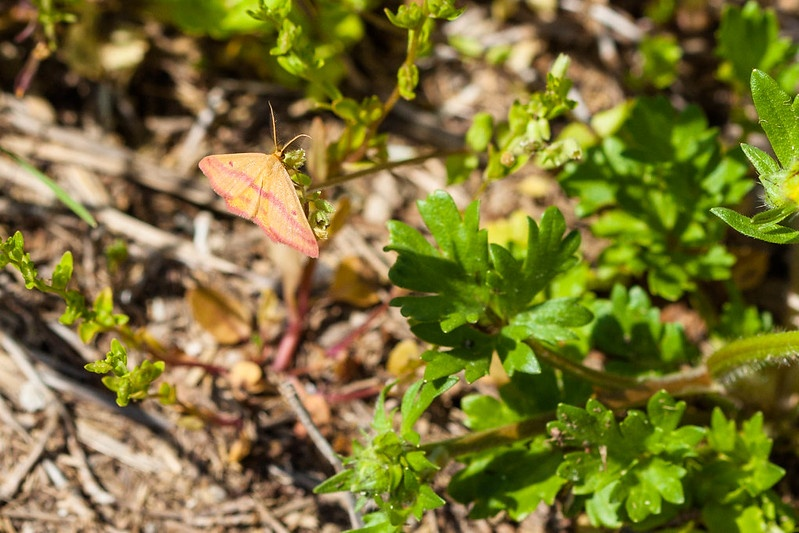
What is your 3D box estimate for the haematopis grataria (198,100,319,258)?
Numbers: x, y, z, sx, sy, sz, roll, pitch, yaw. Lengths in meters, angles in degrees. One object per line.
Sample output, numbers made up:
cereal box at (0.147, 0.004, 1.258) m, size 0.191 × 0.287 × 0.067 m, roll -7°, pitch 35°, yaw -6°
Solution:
haematopis grataria at (-0.709, -0.477, 4.058) m, size 0.759 × 0.553 × 0.204 m, roll 30°, pitch 6°, yaw 10°
